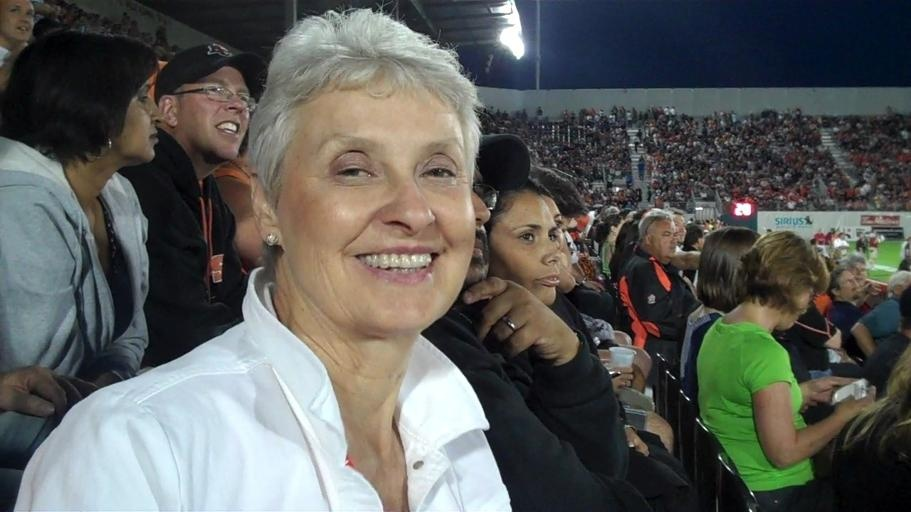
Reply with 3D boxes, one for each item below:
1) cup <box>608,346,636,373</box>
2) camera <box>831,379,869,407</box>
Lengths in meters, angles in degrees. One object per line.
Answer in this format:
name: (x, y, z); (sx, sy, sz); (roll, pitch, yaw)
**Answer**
cup: (1.387, 0.822, 5.741); (0.191, 0.136, 0.191); (2, -8, 0)
camera: (3.259, 1.078, 5.741); (0.256, 0.106, 0.313); (-12, -10, -7)
